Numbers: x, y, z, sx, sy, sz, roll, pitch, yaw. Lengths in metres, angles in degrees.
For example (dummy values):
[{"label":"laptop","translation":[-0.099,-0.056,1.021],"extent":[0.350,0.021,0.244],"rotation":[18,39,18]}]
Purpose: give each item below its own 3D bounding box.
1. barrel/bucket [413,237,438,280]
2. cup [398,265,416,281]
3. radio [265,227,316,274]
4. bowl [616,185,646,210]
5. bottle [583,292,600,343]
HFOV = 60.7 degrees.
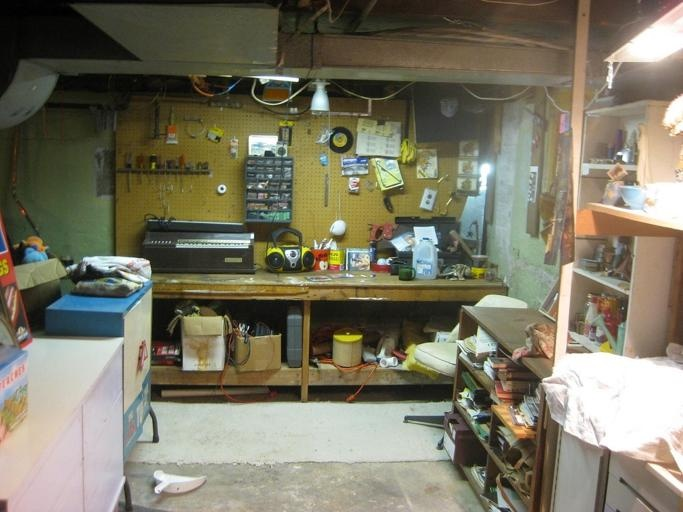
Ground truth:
[{"label":"barrel/bucket","translation":[0.650,0.040,4.522],"extent":[0.259,0.381,0.145],"rotation":[1,-27,2]},{"label":"cup","translation":[0.501,0.141,4.470],"extent":[0.118,0.107,0.089],"rotation":[0,2,-12]},{"label":"radio","translation":[-0.401,-0.036,4.604],"extent":[0.367,0.362,0.207],"rotation":[-2,2,-22]},{"label":"bowl","translation":[1.155,-0.233,2.348],"extent":[0.094,0.072,0.098],"rotation":[0,7,0]},{"label":"bottle","translation":[1.332,0.333,3.116],"extent":[0.049,0.235,0.169],"rotation":[0,8,7]}]
